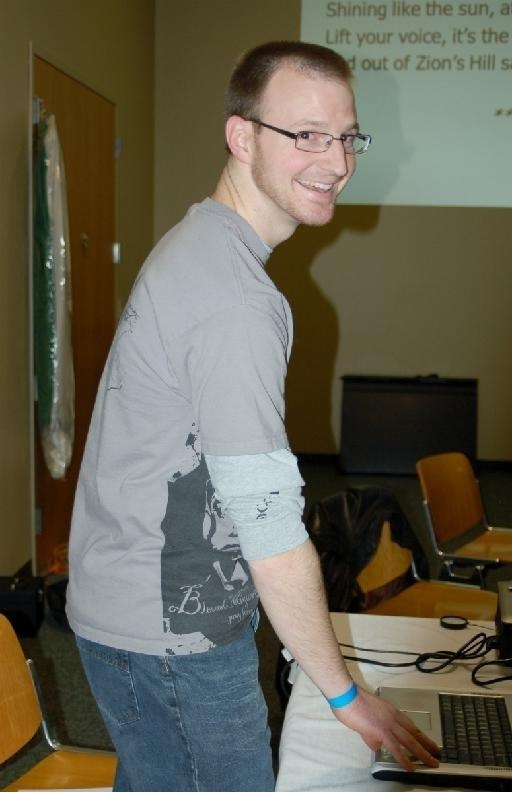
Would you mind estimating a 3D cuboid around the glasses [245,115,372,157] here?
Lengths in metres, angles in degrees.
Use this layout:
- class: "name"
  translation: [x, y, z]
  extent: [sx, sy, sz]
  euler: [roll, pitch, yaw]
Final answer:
- class: "glasses"
  translation: [0.063, -0.303, 0.792]
  extent: [0.131, 0.051, 0.061]
  euler: [-3, 6, -16]

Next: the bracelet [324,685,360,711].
- class: "bracelet"
  translation: [0.094, 0.323, 0.724]
  extent: [0.037, 0.032, 0.024]
  euler: [-2, 6, -4]
